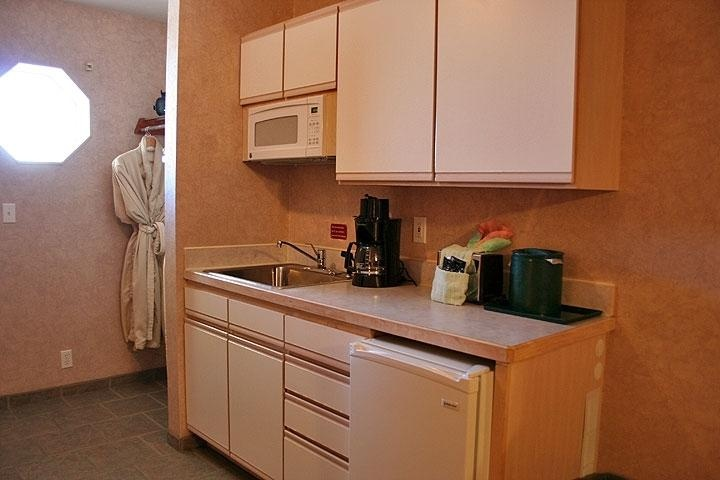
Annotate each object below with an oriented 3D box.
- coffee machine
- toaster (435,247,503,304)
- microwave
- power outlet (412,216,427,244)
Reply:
[{"bbox_3d":[0.090,0.004,3.267,0.403,0.529,0.225,1,12,-1],"label":"coffee machine"},{"bbox_3d":[0.585,0.184,2.936,0.363,0.283,0.171,2,12,6],"label":"toaster"},{"bbox_3d":[-0.458,-0.710,3.534,0.731,0.422,0.143,11,16,41],"label":"microwave"},{"bbox_3d":[0.356,-0.054,3.319,0.101,0.156,0.031,12,16,41],"label":"power outlet"}]
